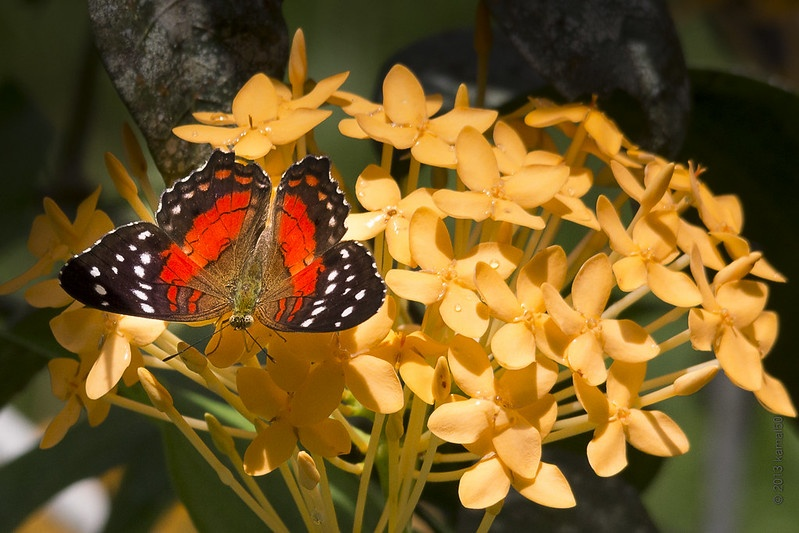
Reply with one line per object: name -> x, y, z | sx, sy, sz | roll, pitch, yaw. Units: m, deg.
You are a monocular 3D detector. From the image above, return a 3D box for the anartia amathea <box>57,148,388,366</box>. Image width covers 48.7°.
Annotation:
anartia amathea -> -0.200, -0.034, 1.108 | 0.373, 0.358, 0.240 | -4, 95, -12
